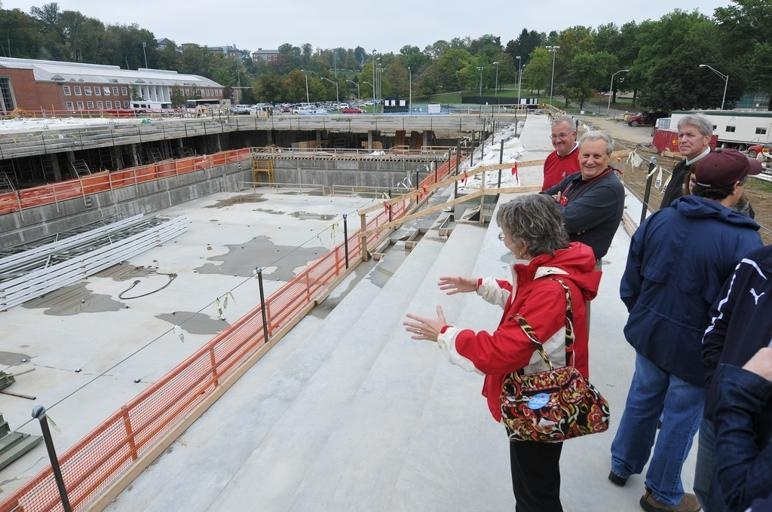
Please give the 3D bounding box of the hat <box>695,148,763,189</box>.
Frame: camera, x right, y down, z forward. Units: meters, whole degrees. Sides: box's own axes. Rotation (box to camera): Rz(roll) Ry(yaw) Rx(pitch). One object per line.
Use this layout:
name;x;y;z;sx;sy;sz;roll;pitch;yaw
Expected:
hat;2.414;-0.651;3.024;0.420;0.208;0.254;-29;26;-12

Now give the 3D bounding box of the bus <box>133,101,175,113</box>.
bus;-31.699;-20.330;58.621;4.388;1.390;8.411;-9;21;-25

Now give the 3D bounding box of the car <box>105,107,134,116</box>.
car;-34.403;-18.612;55.860;2.535;0.831;7.476;-14;23;-34

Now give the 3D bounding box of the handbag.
handbag;1.005;0.755;2.823;0.763;0.881;0.383;-3;-13;-15
